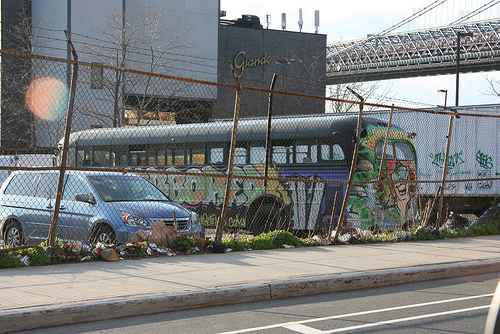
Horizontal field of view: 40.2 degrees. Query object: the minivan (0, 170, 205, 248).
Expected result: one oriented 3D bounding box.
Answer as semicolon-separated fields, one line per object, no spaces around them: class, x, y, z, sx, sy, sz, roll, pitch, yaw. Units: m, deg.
minivan;-4.658;1.222;20.605;5.554;2.461;2.753;-2;-3;22
